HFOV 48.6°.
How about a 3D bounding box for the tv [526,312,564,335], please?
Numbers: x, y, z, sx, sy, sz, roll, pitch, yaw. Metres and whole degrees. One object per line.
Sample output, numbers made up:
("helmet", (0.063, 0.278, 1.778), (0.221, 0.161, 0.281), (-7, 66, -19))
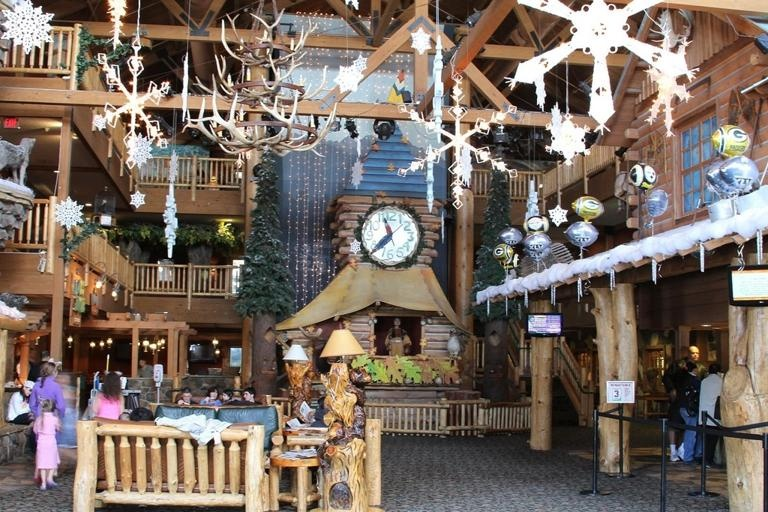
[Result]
("tv", (3.328, 1.416, 17.517), (0.836, 0.539, 0.430), (0, -9, 3))

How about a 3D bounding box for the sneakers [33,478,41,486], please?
("sneakers", (-5.873, 3.854, 14.465), (0.102, 0.110, 0.105), (3, -10, -31))

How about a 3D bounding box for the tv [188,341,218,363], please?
("tv", (-6.512, 3.492, 30.847), (1.259, 0.995, 0.657), (2, -1, -6))

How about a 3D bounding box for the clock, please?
("clock", (0.187, -0.570, 22.715), (1.712, 1.704, 0.135), (1, -8, -9))
